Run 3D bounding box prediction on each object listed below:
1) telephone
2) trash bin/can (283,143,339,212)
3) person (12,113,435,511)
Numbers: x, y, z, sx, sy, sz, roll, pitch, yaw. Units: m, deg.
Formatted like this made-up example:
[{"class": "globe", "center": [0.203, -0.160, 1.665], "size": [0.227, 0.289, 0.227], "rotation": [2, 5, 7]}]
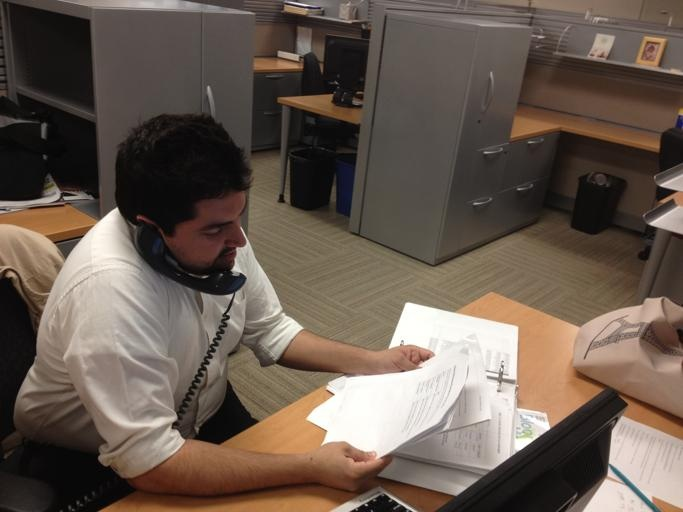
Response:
[{"class": "telephone", "center": [-0.378, 0.014, 1.246], "size": [0.232, 0.168, 0.089], "rotation": [30, 8, -10]}, {"class": "trash bin/can", "center": [-0.359, -0.752, 4.586], "size": [0.482, 0.626, 0.633], "rotation": [-15, 28, -35]}, {"class": "person", "center": [-0.406, 0.006, 1.542], "size": [1.178, 1.156, 0.877], "rotation": [13, 27, 5]}]
